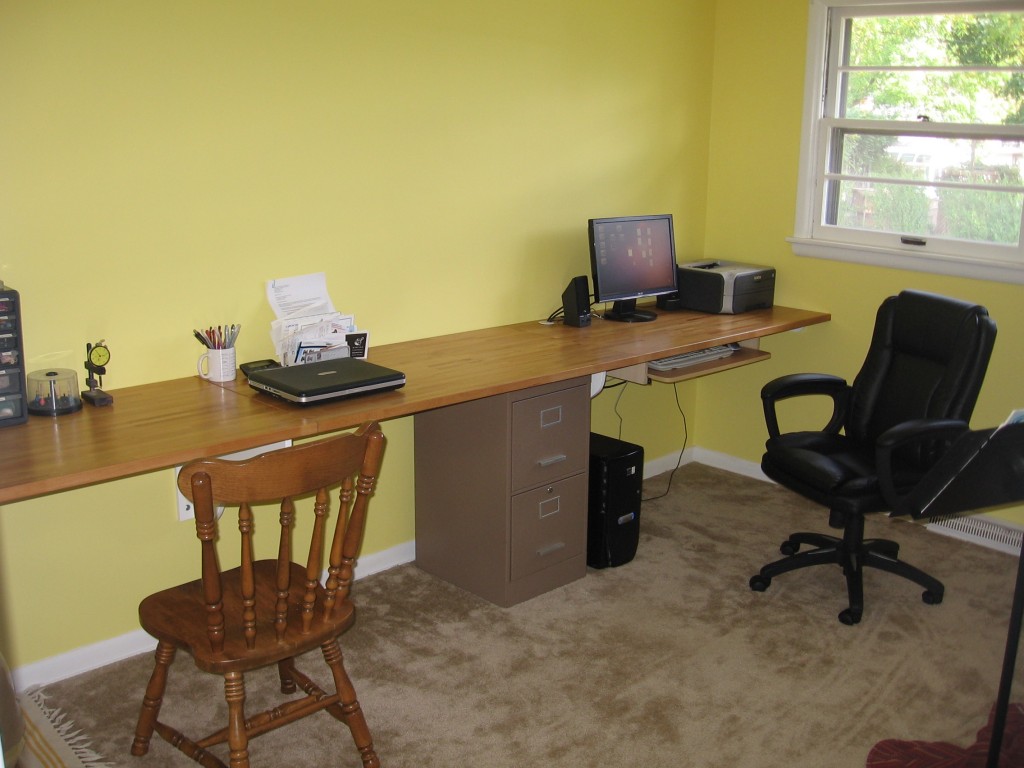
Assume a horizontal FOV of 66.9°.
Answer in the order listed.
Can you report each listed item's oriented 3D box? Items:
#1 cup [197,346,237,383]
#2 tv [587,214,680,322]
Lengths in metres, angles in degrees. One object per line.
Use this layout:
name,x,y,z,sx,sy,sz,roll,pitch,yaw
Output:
cup,-1.079,-0.076,2.855,0.152,0.128,0.095,-11,20,-41
tv,0.585,-0.588,3.840,0.505,0.467,0.210,-12,16,-36
